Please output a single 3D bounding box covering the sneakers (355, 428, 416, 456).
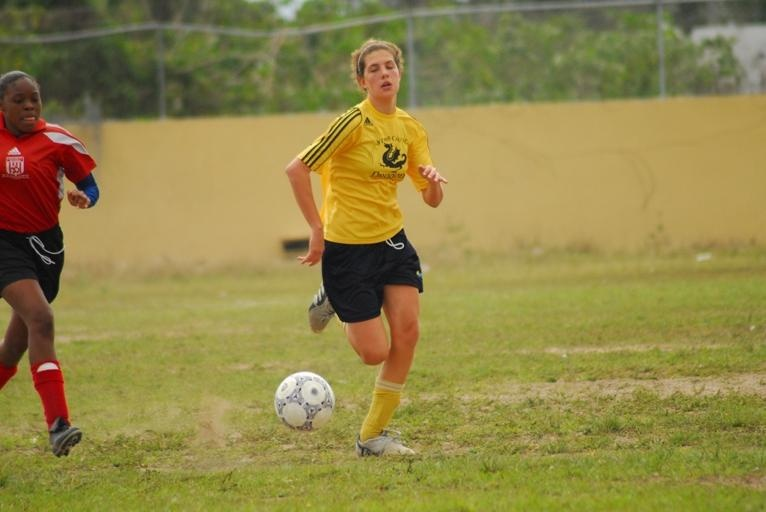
[{"bbox_3d":[0.014,1.625,10.779,0.554,0.257,0.210,1,-7,-1],"label":"sneakers"}]

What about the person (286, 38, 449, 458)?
[{"bbox_3d":[-0.091,-0.092,10.725,1.297,3.479,0.968,-9,16,-23],"label":"person"}]

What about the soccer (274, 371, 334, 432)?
[{"bbox_3d":[-0.670,1.270,10.904,0.533,0.514,0.497,0,-25,0],"label":"soccer"}]

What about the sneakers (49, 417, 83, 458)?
[{"bbox_3d":[-2.664,1.512,10.320,0.229,0.329,0.193,-12,17,-34],"label":"sneakers"}]
